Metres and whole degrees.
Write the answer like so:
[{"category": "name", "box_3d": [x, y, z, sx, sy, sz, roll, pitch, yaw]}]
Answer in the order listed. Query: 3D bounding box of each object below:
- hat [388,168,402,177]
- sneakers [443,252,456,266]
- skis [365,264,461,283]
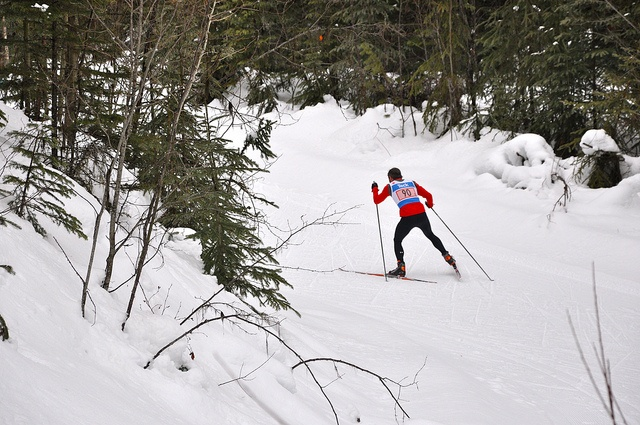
[{"category": "hat", "box_3d": [1.569, -0.828, 12.337, 0.183, 0.259, 0.247, 0, 11, 4]}, {"category": "sneakers", "box_3d": [2.608, 0.957, 11.816, 0.199, 0.281, 0.109, -44, 9, -20]}, {"category": "skis", "box_3d": [1.981, 1.280, 12.127, 1.382, 0.173, 0.212, 6, 22, 18]}]
